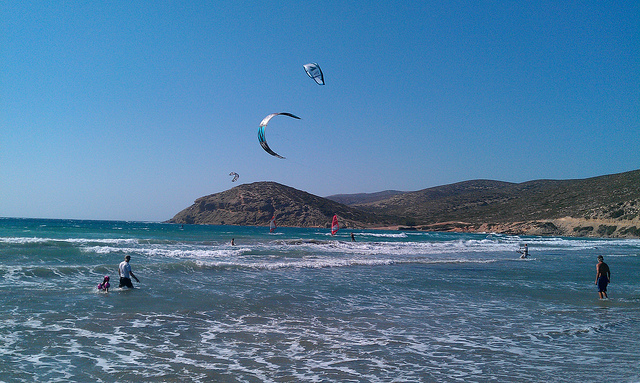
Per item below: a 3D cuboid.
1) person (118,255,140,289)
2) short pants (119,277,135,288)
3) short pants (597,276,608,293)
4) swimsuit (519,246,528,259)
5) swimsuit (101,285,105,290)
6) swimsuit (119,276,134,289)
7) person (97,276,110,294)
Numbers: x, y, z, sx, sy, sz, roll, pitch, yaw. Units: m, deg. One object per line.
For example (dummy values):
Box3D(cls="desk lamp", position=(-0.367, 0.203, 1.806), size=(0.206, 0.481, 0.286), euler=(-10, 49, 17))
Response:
Box3D(cls="person", position=(-9.035, 3.769, 23.398), size=(0.808, 1.547, 1.392), euler=(0, 0, -20))
Box3D(cls="short pants", position=(-9.079, 4.285, 23.224), size=(0.840, 0.573, 0.278), euler=(1, -10, -8))
Box3D(cls="short pants", position=(13.287, 4.381, 23.342), size=(0.403, 0.815, 0.371), euler=(0, 0, 1))
Box3D(cls="swimsuit", position=(15.981, 4.929, 38.708), size=(0.564, 0.688, 1.700), euler=(-8, -21, 14))
Box3D(cls="swimsuit", position=(-9.857, 4.360, 22.530), size=(0.281, 0.209, 0.071), euler=(1, -16, -9))
Box3D(cls="swimsuit", position=(-9.070, 4.290, 23.177), size=(0.841, 0.575, 0.282), euler=(1, -14, -8))
Box3D(cls="person", position=(-9.884, 4.244, 22.616), size=(0.478, 0.683, 0.784), euler=(0, 0, -23))
